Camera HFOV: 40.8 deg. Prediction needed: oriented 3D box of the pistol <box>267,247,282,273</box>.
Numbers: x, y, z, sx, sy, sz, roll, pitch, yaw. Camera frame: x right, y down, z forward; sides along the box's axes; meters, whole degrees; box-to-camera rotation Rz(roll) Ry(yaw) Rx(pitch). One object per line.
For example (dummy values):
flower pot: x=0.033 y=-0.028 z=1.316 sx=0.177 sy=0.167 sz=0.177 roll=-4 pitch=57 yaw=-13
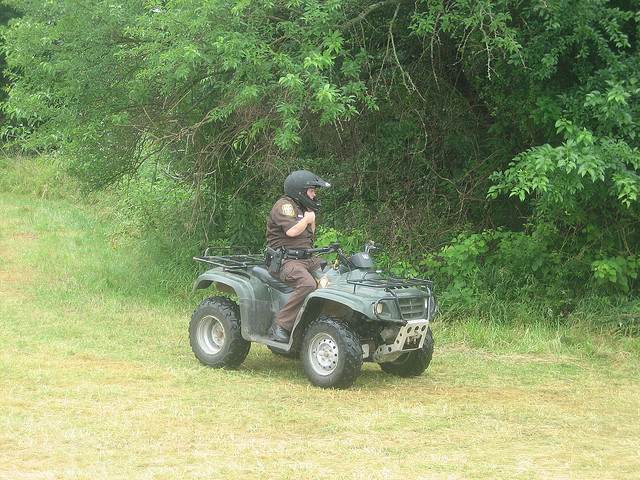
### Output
pistol: x=-0.597 y=0.274 z=11.432 sx=0.223 sy=0.326 sz=0.095 roll=11 pitch=15 yaw=39

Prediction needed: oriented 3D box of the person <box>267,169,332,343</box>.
person: x=-0.321 y=0.218 z=11.382 sx=0.753 sy=2.148 sz=0.957 roll=1 pitch=11 yaw=-3
